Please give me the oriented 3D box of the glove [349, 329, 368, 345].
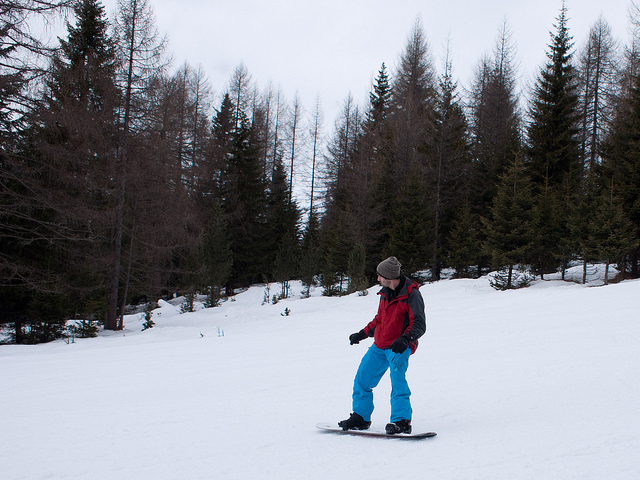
[{"bbox_3d":[0.977,2.491,15.770,0.350,0.166,0.363,-33,18,-1],"label":"glove"}]
